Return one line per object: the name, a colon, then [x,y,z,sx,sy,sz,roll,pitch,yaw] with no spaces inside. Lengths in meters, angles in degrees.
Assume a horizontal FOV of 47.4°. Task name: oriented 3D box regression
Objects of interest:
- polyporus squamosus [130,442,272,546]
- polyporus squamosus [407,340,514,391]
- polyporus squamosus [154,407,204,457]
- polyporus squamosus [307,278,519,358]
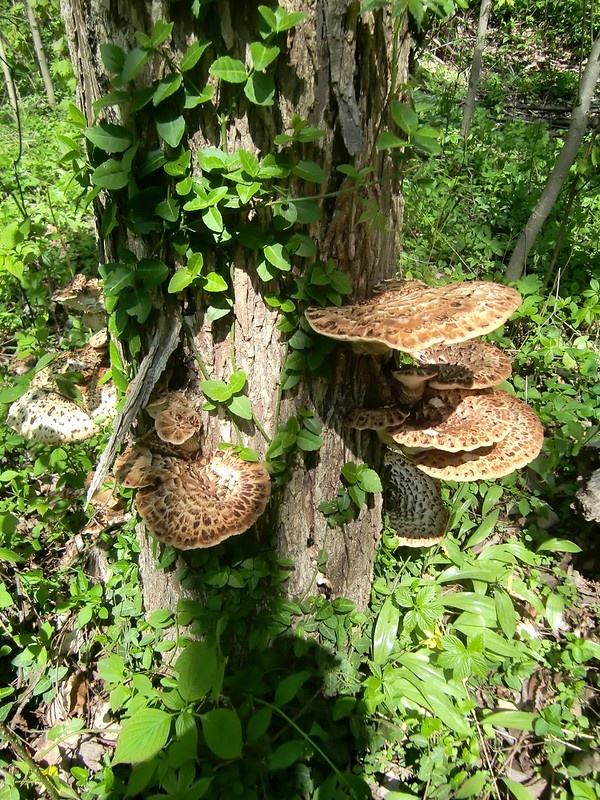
polyporus squamosus: [-0.441,0.424,3.201,0.661,0.121,0.611,-11,40,-19]
polyporus squamosus: [0.889,-0.190,3.633,0.355,0.098,0.341,-9,24,0]
polyporus squamosus: [-0.582,0.171,3.225,0.242,0.077,0.211,-1,58,-24]
polyporus squamosus: [0.526,-0.357,2.857,0.574,0.130,0.499,-27,20,-27]
